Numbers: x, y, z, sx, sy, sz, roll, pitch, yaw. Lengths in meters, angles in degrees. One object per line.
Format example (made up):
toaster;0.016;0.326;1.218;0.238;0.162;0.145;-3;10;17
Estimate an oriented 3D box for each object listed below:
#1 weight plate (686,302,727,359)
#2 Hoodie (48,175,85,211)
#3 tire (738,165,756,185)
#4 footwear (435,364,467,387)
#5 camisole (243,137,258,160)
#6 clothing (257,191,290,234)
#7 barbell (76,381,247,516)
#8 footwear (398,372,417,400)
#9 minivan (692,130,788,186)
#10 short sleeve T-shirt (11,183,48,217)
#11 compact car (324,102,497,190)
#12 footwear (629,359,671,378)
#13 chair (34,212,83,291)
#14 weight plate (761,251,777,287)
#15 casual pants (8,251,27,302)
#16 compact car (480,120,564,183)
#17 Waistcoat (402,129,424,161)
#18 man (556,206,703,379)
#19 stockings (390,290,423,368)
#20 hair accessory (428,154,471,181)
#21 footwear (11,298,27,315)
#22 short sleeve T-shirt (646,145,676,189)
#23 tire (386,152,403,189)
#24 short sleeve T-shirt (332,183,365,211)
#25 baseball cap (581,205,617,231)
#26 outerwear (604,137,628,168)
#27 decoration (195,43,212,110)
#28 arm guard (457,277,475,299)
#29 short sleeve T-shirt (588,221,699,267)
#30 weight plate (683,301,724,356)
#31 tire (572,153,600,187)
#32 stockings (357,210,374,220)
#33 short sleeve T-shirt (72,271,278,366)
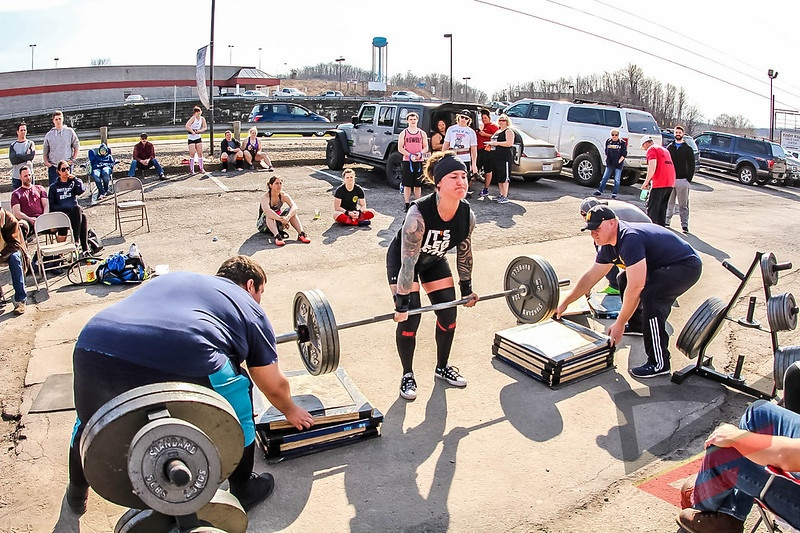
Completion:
weight plate;3.265;0.671;6.271;0.311;0.667;0.223;-7;15;-22
Hoodie;-5.563;-1.226;9.774;0.529;0.544;0.317;-10;16;-32
tire;11.870;-3.172;20.033;0.228;0.680;0.602;-3;-7;-23
footwear;0.556;1.168;6.463;0.159;0.157;0.358;-17;22;-42
camisole;-4.042;-3.226;15.890;0.495;0.663;0.380;-4;23;-31
clothing;-2.276;-1.006;10.734;0.516;0.844;0.653;-13;18;-40
barbell;-1.521;1.196;3.857;0.885;0.949;0.366;-50;23;-9
footwear;0.090;1.263;6.185;0.114;0.128;0.314;0;7;-4
minivan;11.954;-3.820;21.217;1.847;1.582;3.908;-4;23;-33
short sleeve T-shirt;-5.946;-1.075;9.463;0.541;0.492;0.378;-14;19;-42
compact car;-0.113;-3.326;15.221;2.215;1.762;3.796;-10;29;-33
footwear;2.797;1.120;6.643;0.484;0.211;0.181;-1;9;-4
chair;-5.331;-0.240;9.137;0.668;1.201;0.859;-13;46;-42
weight plate;3.750;0.024;5.968;0.145;0.345;0.288;7;16;32
casual pants;-5.134;0.122;7.886;0.187;0.644;0.466;-10;16;-32
compact car;3.299;-3.006;15.461;0.944;0.700;2.037;-11;26;-19
Waistcoat;0.270;-2.585;12.315;0.575;0.780;0.411;-1;16;-3
man;3.233;-0.250;8.463;1.365;2.001;0.962;-12;33;-8
stockings;0.073;0.711;6.098;0.200;0.991;0.293;1;-6;-11
hair accessory;0.455;-0.988;5.821;0.237;0.174;0.313;6;-28;-12
footwear;-5.048;0.518;7.779;0.171;0.203;0.463;0;-6;-28
short sleeve T-shirt;4.860;-1.898;10.954;0.506;0.797;0.374;-2;14;-2
tire;-0.122;-2.362;14.041;0.334;0.973;0.934;-5;10;-23
short sleeve T-shirt;-1.031;-1.395;11.729;0.803;0.805;0.441;-3;8;-18
baseball cap;2.126;-0.531;6.368;0.340;0.195;0.226;-27;15;-8
outerwear;5.346;-2.862;14.503;0.695;0.787;0.417;7;12;33
decoration;-5.594;-5.462;16.699;0.367;1.682;1.899;-6;14;-17
arm guard;0.696;0.222;6.234;0.177;0.277;0.211;-5;-3;4
short sleeve T-shirt;2.714;-0.237;6.406;0.606;0.427;0.753;-6;2;-6
weight plate;3.361;0.698;6.460;0.144;0.510;0.505;33;61;26
tire;5.023;-2.643;15.727;0.349;1.026;0.895;-12;5;-37
stockings;-0.670;-1.046;11.673;0.125;0.218;0.375;11;18;41
short sleeve T-shirt;-1.525;0.410;4.243;0.872;0.450;0.891;20;15;40
